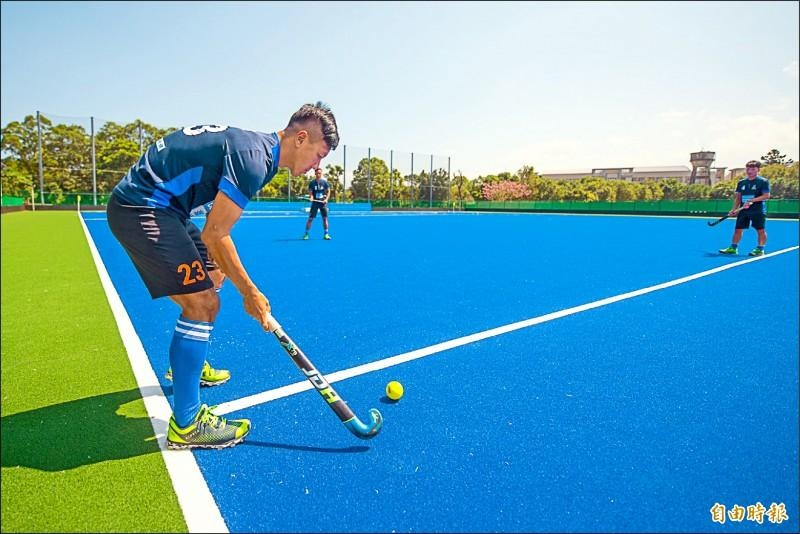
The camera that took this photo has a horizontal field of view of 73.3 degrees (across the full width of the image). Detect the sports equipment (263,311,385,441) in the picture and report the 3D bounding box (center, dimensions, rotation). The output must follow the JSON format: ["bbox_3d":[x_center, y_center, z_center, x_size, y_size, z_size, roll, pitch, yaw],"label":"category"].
[{"bbox_3d":[-0.592,0.873,4.235,0.240,1.019,0.106,-48,3,-42],"label":"sports equipment"}]

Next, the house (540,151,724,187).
[{"bbox_3d":[38.935,-15.099,83.581,19.537,5.526,66.213,7,13,27],"label":"house"}]

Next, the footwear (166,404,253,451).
[{"bbox_3d":[-1.273,1.063,3.752,0.602,0.298,0.233,0,9,-18],"label":"footwear"}]
